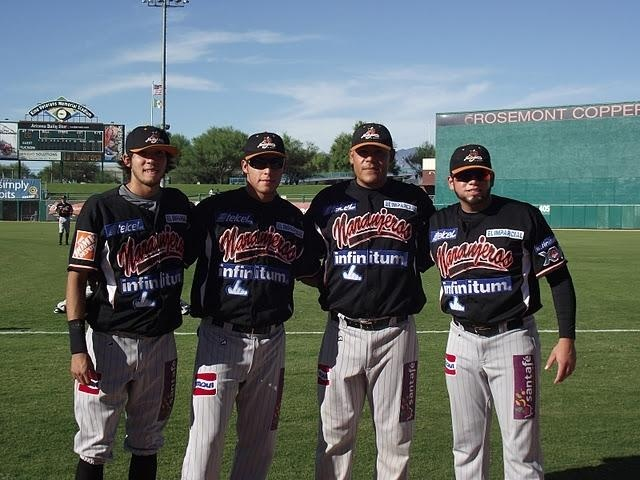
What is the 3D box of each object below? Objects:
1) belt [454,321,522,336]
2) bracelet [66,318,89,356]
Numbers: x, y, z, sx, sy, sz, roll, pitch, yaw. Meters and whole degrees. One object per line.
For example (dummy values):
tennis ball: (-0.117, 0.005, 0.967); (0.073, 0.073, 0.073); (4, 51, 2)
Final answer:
belt: (1.291, 0.674, 5.467); (0.515, 0.125, 0.096); (-1, 5, 18)
bracelet: (-1.804, 0.710, 5.292); (0.116, 0.256, 0.198); (-4, 5, -19)
